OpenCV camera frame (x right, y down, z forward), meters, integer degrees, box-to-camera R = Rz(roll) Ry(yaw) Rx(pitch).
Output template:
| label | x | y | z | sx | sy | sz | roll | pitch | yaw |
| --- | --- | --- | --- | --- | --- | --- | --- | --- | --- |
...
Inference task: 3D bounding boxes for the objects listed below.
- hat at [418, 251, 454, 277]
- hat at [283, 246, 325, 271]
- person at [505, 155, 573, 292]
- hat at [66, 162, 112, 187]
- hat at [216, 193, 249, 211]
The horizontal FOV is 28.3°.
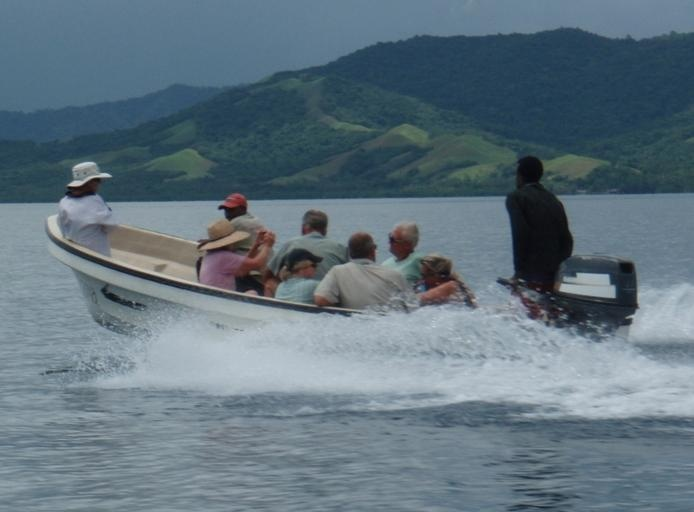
| label | x | y | z | sx | sy | sz | roll | pitch | yaw |
| --- | --- | --- | --- | --- | --- | --- | --- | --- | --- |
| hat | 1.264 | 0.124 | 19.649 | 0.485 | 0.327 | 0.339 | 2 | 9 | 4 |
| hat | -0.668 | 0.032 | 19.878 | 0.572 | 0.218 | 0.286 | -9 | 18 | -6 |
| person | 2.761 | -0.460 | 19.942 | 0.958 | 1.918 | 0.529 | 4 | 11 | 8 |
| hat | -4.020 | -1.301 | 21.683 | 0.649 | 0.242 | 0.635 | -6 | 0 | -42 |
| hat | -1.789 | -0.859 | 21.695 | 0.495 | 0.186 | 0.295 | 2 | 0 | -26 |
